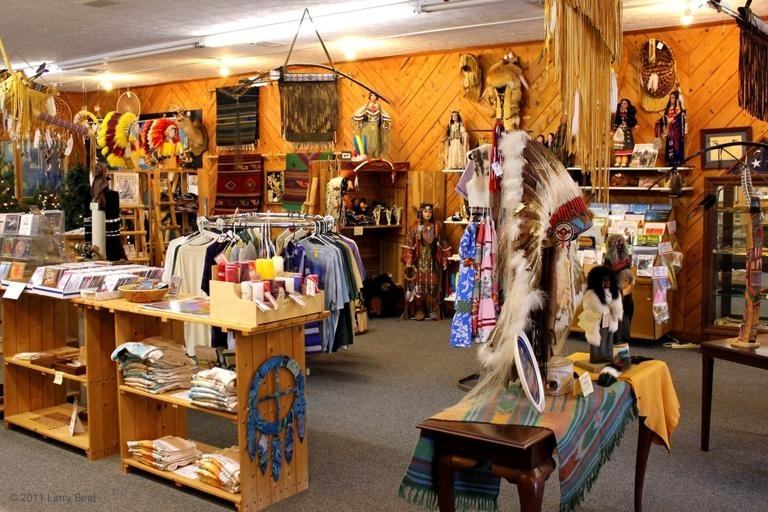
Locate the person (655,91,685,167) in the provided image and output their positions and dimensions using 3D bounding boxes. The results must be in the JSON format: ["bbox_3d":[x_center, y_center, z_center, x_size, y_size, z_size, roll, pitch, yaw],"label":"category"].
[{"bbox_3d":[3.823,-1.696,7.849,0.378,0.988,0.412,4,10,25],"label":"person"}]

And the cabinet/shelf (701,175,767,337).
[{"bbox_3d":[4.302,0.078,7.162,0.759,2.051,1.406,4,10,27],"label":"cabinet/shelf"}]

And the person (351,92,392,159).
[{"bbox_3d":[-0.195,-2.028,9.697,0.590,0.888,0.294,-1,9,-3],"label":"person"}]

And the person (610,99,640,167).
[{"bbox_3d":[3.336,-1.700,8.140,0.441,0.924,0.281,-1,9,-5],"label":"person"}]

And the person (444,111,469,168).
[{"bbox_3d":[1.124,-1.787,9.165,0.361,0.885,0.382,1,9,7],"label":"person"}]

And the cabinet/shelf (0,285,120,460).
[{"bbox_3d":[-2.914,1.042,5.288,1.302,1.271,0.468,3,4,40],"label":"cabinet/shelf"}]

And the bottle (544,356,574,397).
[{"bbox_3d":[1.057,0.708,3.537,0.178,0.203,0.196,-2,0,-17],"label":"bottle"}]

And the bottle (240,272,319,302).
[{"bbox_3d":[-0.747,0.236,4.334,0.584,0.163,0.116,-6,11,-32],"label":"bottle"}]

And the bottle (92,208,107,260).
[{"bbox_3d":[-3.222,-0.291,6.690,0.275,0.619,0.126,7,11,39],"label":"bottle"}]

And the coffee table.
[{"bbox_3d":[0.952,0.759,3.399,0.937,0.745,1.359,2,2,35],"label":"coffee table"}]
